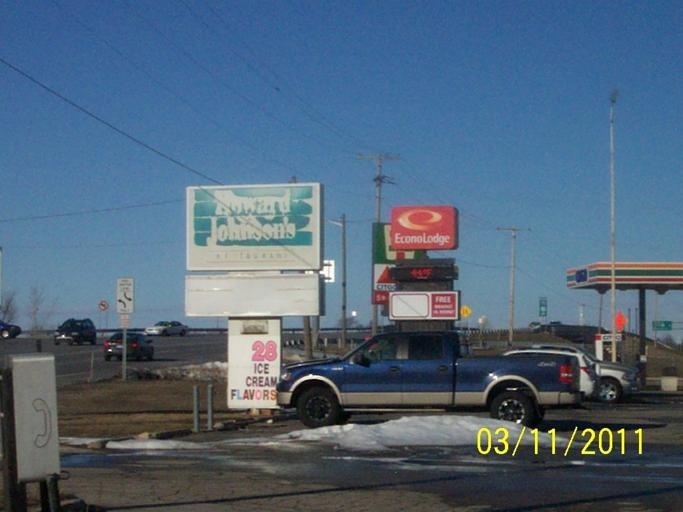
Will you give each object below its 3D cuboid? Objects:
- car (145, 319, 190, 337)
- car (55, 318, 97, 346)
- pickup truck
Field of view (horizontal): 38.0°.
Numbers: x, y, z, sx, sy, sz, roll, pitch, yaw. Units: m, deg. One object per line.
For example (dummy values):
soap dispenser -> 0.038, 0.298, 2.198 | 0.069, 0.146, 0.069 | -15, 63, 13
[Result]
car -> -13.737, 5.817, 77.538 | 1.745, 1.109, 3.550 | -4, -3, 24
car -> -15.856, 4.597, 58.949 | 1.412, 1.557, 2.763 | -4, -3, 19
pickup truck -> 1.948, 2.768, 22.425 | 5.711, 1.910, 2.620 | 0, -6, 8
